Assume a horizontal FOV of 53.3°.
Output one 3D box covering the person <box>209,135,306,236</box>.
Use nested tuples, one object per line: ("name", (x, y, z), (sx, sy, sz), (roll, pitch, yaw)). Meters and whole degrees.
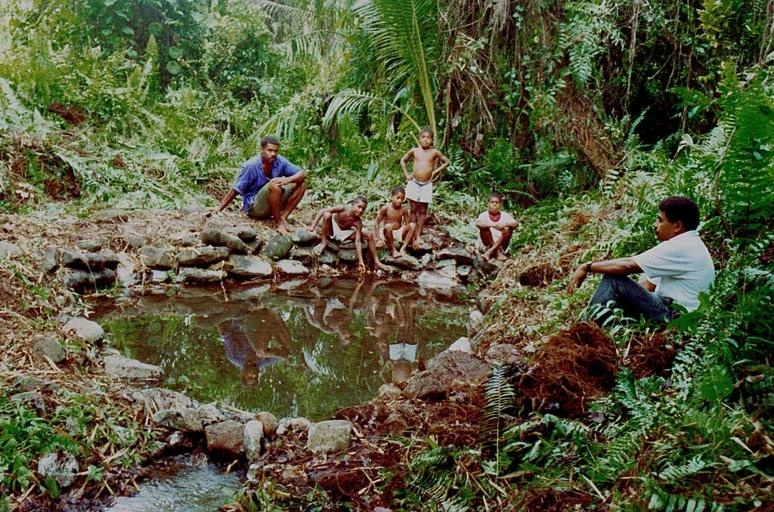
("person", (-1.770, -0.963, 10.402), (1.351, 1.252, 0.919), (-2, 3, -9))

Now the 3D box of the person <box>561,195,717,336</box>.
("person", (2.278, 0.019, 7.148), (1.276, 1.460, 0.899), (6, 7, 30))

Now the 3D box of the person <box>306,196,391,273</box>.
("person", (-0.477, -0.366, 10.332), (1.149, 0.971, 0.983), (12, 7, -5))

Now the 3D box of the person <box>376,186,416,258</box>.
("person", (0.110, -0.475, 10.406), (0.624, 0.923, 0.605), (-4, 12, -40))

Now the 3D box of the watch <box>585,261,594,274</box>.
("watch", (1.919, 0.121, 7.299), (0.053, 0.093, 0.088), (-1, 14, 30))
